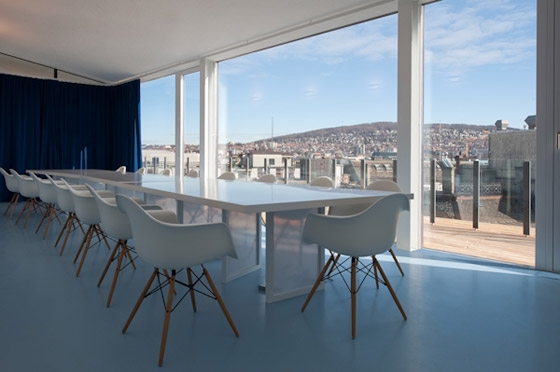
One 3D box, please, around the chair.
[{"bbox_3d":[-0.866,0.550,3.937,4.012,1.298,2.074,3,6,45],"label":"chair"}]
